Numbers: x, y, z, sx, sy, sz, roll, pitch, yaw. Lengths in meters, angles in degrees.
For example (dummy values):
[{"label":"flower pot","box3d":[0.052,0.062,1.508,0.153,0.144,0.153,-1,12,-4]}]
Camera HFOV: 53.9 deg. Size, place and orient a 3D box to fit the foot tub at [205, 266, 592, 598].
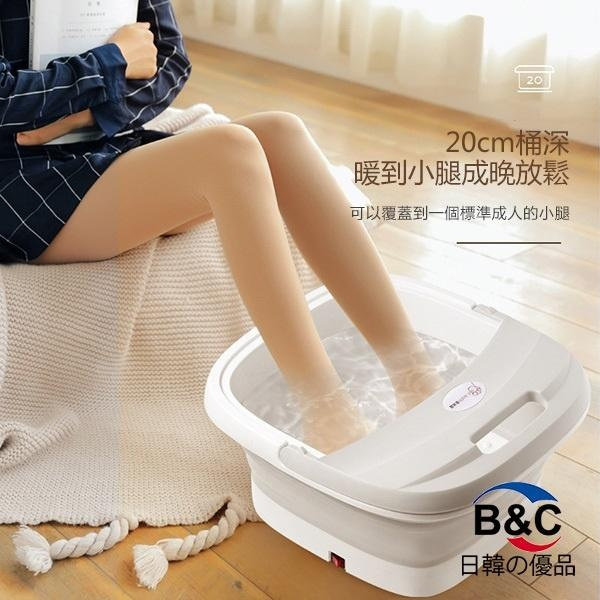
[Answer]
[{"label":"foot tub","box3d":[0.061,0.140,0.679,0.355,0.155,0.406,-29,35,-33]}]
